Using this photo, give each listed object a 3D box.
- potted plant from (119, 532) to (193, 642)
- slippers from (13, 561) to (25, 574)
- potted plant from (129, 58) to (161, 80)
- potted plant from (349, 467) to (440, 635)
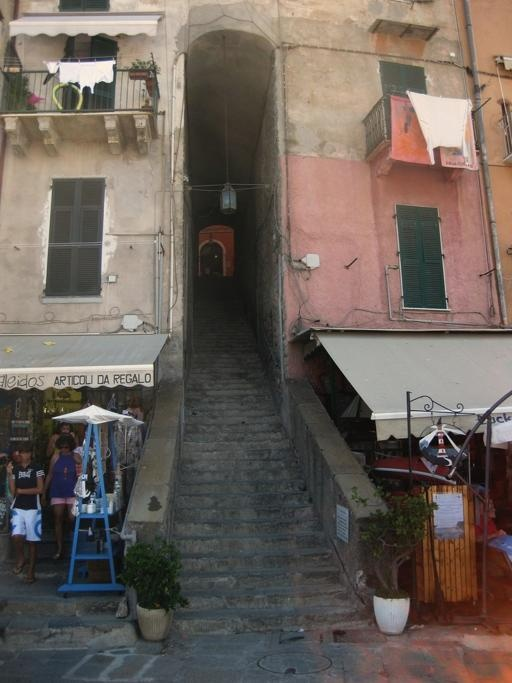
[{"bbox_3d":[-1.098,2.753,7.267,1.011,1.355,0.925,1,-10,-7],"label":"potted plant"},{"bbox_3d":[-3.253,3.053,8.743,0.096,0.188,0.270,2,-2,-5],"label":"slippers"},{"bbox_3d":[-2.042,-4.844,11.676,0.529,0.364,0.476,-3,16,-5],"label":"potted plant"},{"bbox_3d":[1.592,2.532,7.581,0.883,1.483,1.008,0,3,5],"label":"potted plant"}]
